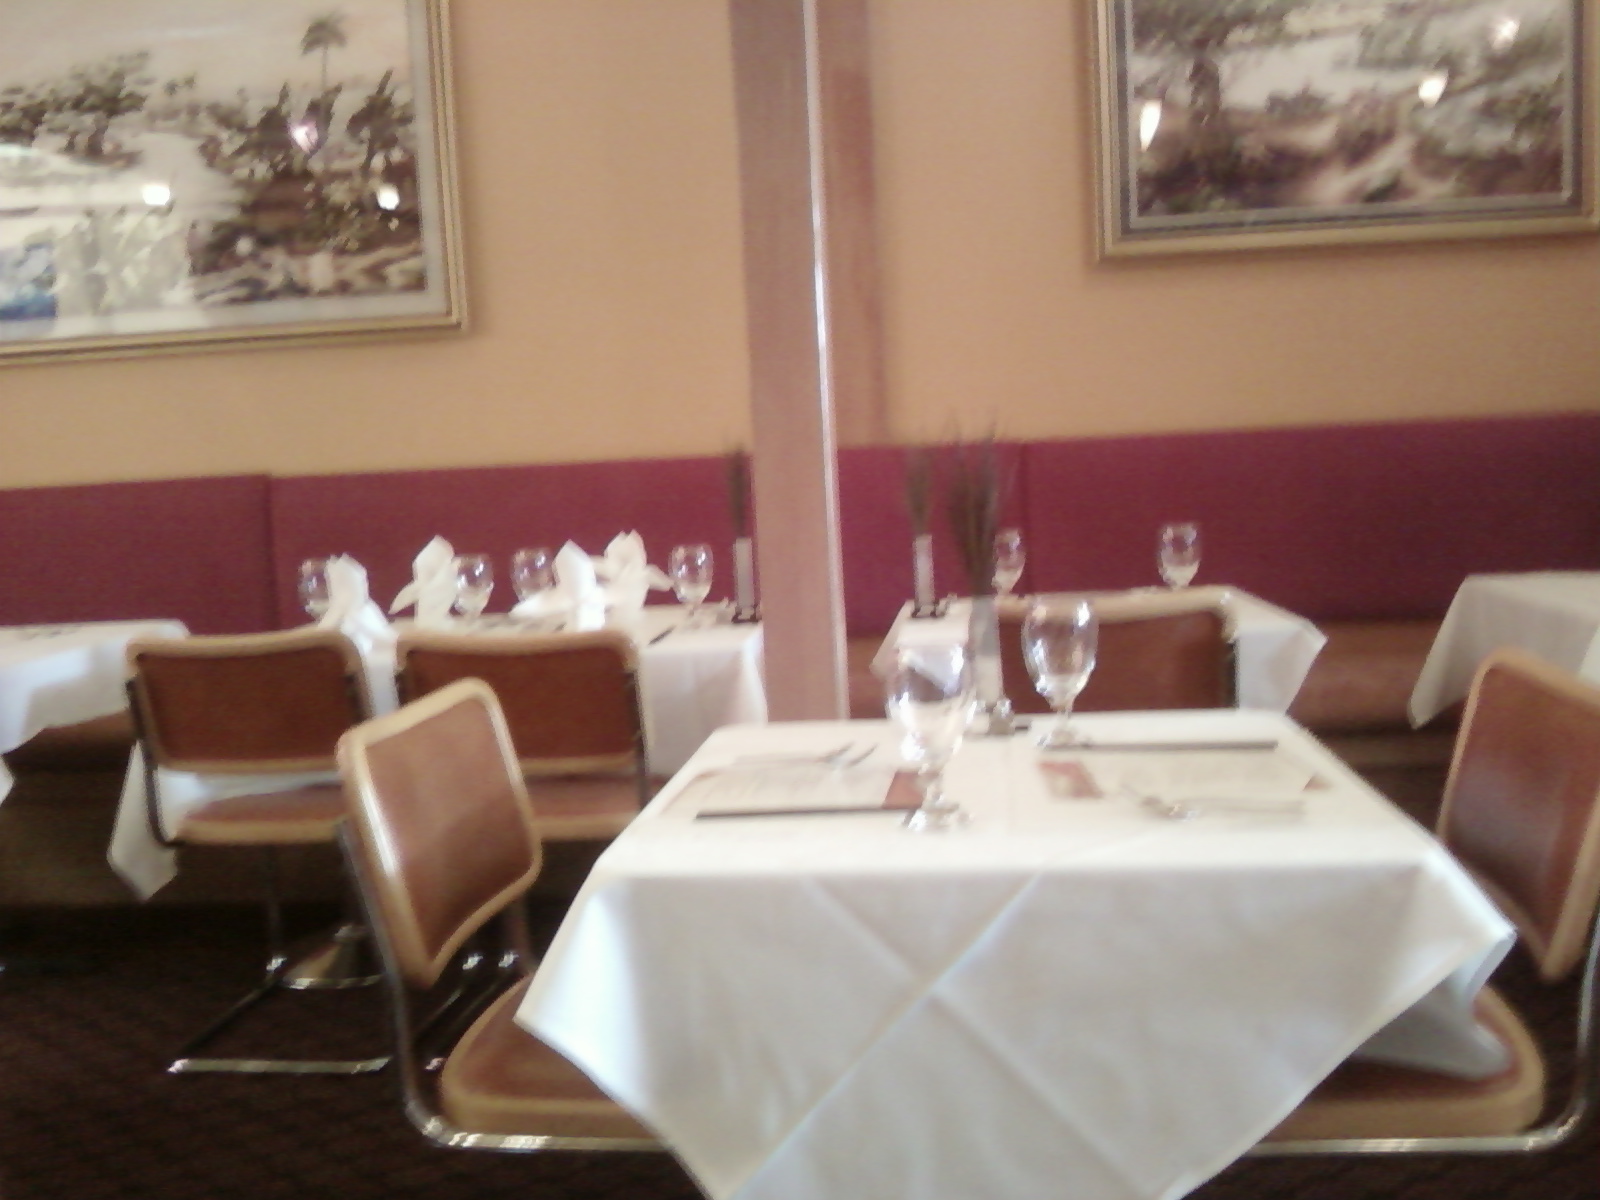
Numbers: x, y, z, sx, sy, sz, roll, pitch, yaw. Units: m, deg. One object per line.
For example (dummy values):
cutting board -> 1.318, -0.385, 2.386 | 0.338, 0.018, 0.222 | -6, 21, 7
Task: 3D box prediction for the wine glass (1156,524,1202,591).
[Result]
wine glass -> 0.870, -0.100, 2.997 | 0.083, 0.158, 0.248 | -1, 14, 14
